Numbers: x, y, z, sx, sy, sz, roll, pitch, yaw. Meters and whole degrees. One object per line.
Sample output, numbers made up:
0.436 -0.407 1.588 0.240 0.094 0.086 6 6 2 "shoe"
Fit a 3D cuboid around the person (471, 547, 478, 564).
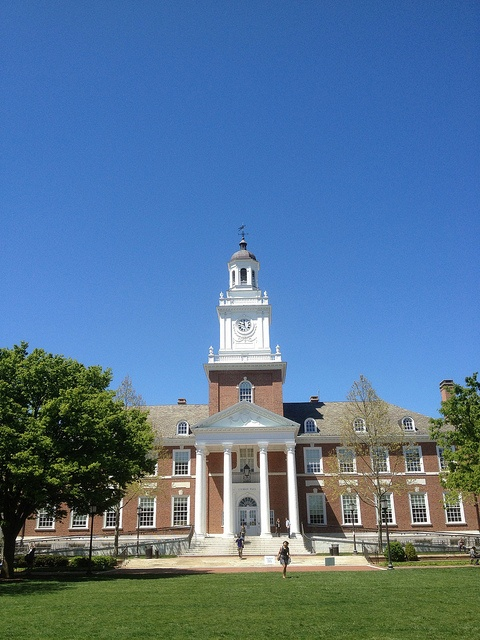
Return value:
11.948 12.031 30.073 0.424 0.792 2.142 -9 -22 19 "person"
